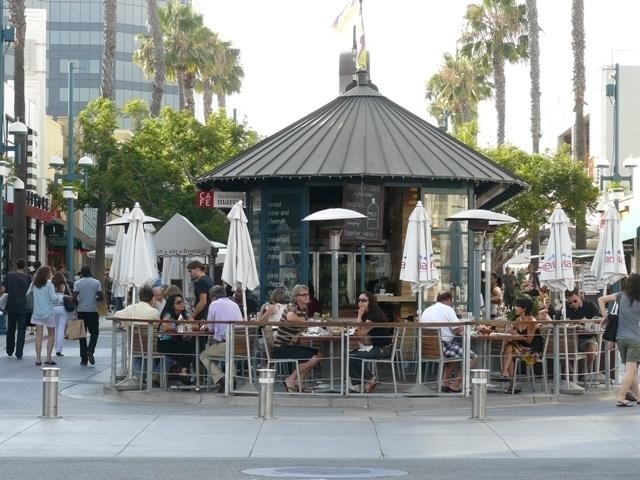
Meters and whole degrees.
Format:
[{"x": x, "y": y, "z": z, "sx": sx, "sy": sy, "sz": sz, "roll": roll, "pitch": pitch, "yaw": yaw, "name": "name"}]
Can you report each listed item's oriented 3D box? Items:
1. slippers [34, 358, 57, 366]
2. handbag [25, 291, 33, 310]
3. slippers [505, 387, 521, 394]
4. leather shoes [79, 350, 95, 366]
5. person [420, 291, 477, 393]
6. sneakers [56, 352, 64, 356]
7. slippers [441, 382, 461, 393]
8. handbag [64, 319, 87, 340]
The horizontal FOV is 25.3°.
[{"x": -7.115, "y": 3.135, "z": 36.961, "sx": 0.585, "sy": 0.161, "sz": 0.215, "roll": -2, "pitch": -2, "yaw": 6, "name": "slippers"}, {"x": -7.724, "y": 1.573, "z": 37.984, "sx": 0.186, "sy": 0.458, "sz": 0.812, "roll": 2, "pitch": -5, "yaw": -11, "name": "handbag"}, {"x": 4.497, "y": 3.454, "z": 33.154, "sx": 0.135, "sy": 0.165, "sz": 0.413, "roll": -3, "pitch": -9, "yaw": 36, "name": "slippers"}, {"x": -6.145, "y": 3.079, "z": 37.670, "sx": 0.257, "sy": 0.265, "sz": 0.613, "roll": 1, "pitch": -12, "yaw": -6, "name": "leather shoes"}, {"x": 2.993, "y": 2.308, "z": 32.837, "sx": 1.031, "sy": 2.298, "sz": 1.252, "roll": -2, "pitch": -5, "yaw": 31, "name": "person"}, {"x": -7.193, "y": 3.110, "z": 39.492, "sx": 0.204, "sy": 0.145, "sz": 0.074, "roll": -1, "pitch": 5, "yaw": -17, "name": "sneakers"}, {"x": 3.022, "y": 3.389, "z": 32.921, "sx": 0.424, "sy": 0.123, "sz": 0.157, "roll": -2, "pitch": -3, "yaw": 18, "name": "slippers"}, {"x": -6.569, "y": 2.363, "z": 38.452, "sx": 0.707, "sy": 0.702, "sz": 0.250, "roll": -2, "pitch": 1, "yaw": 38, "name": "handbag"}]
